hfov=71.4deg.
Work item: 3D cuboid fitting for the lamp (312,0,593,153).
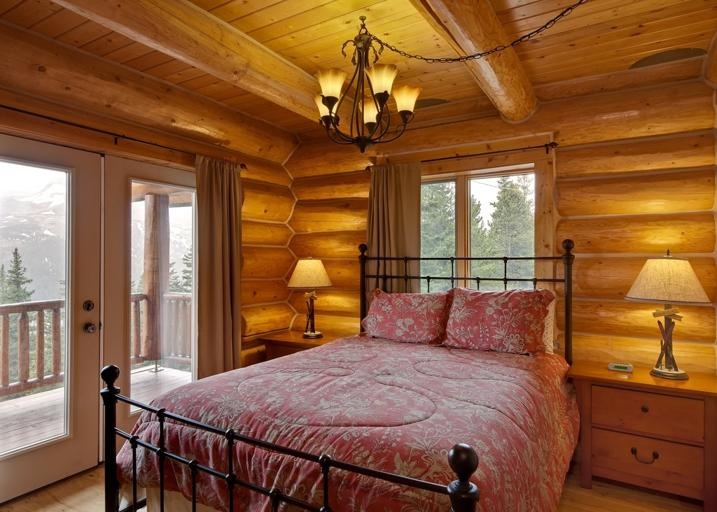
[{"bbox_3d":[0.517,-1.230,3.988,1.730,0.891,2.207,-2,8,-4],"label":"lamp"}]
